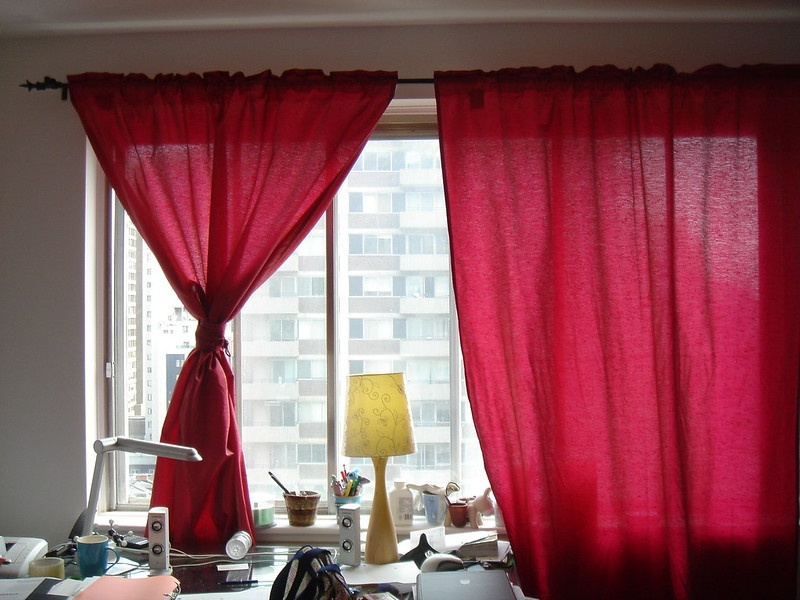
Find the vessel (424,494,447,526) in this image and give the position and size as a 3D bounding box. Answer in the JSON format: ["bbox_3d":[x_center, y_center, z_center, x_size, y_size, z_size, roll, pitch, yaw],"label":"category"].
[{"bbox_3d":[0.155,0.978,3.543,0.119,0.124,0.115,5,-5,-24],"label":"vessel"}]

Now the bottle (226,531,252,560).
[{"bbox_3d":[-0.666,1.028,3.183,0.087,0.098,0.145,-6,-7,38],"label":"bottle"}]

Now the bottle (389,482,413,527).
[{"bbox_3d":[0.004,0.943,3.510,0.128,0.200,0.133,-2,-13,0],"label":"bottle"}]

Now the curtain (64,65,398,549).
[{"bbox_3d":[-0.813,0.049,3.404,1.906,2.838,0.380,1,-4,0],"label":"curtain"}]

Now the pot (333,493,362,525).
[{"bbox_3d":[-0.232,0.923,3.353,0.107,0.090,0.096,-2,2,-25],"label":"pot"}]

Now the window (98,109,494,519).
[{"bbox_3d":[-0.177,0.191,3.693,1.444,1.427,0.493,-5,24,-44],"label":"window"}]

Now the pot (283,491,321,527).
[{"bbox_3d":[-0.440,0.942,3.414,0.144,0.118,0.151,-1,-3,0],"label":"pot"}]

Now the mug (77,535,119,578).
[{"bbox_3d":[-1.180,1.016,3.008,0.157,0.154,0.105,2,-12,-6],"label":"mug"}]

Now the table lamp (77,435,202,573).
[{"bbox_3d":[-1.085,0.812,3.043,0.316,0.531,0.672,2,-7,-38],"label":"table lamp"}]
